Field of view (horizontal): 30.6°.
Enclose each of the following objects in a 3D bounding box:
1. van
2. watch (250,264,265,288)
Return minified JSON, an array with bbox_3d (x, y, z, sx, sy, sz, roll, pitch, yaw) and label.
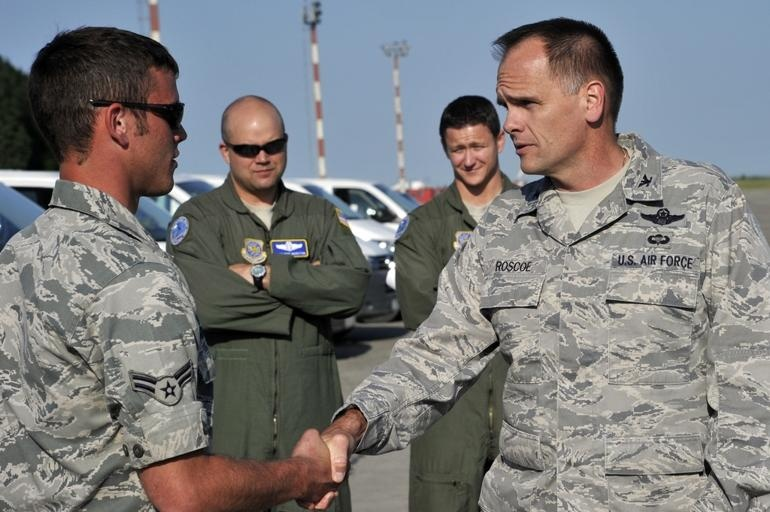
[{"bbox_3d":[-1.439,-0.235,11.682,3.042,1.186,1.695,-2,4,2],"label":"van"},{"bbox_3d":[-0.614,0.092,6.886,0.078,0.111,0.102,5,-12,-1],"label":"watch"}]
